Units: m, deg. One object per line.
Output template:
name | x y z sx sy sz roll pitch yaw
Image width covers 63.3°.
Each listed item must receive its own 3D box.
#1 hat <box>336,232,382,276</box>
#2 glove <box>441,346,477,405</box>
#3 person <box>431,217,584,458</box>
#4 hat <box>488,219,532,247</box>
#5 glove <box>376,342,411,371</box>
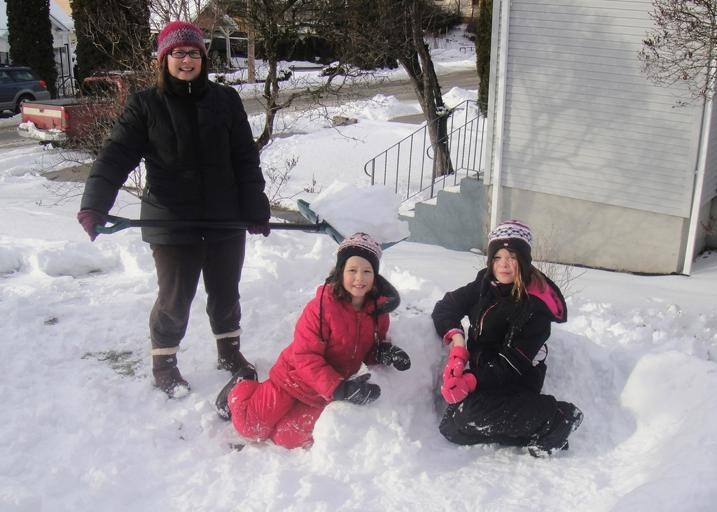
hat | 0.009 -0.018 3.910 0.226 0.264 0.297 14 3 2
glove | 0.672 0.805 3.881 0.222 0.346 0.293 1 20 9
person | 0.972 0.522 3.904 0.945 1.355 0.856 -1 20 6
hat | 1.045 -0.136 3.993 0.205 0.139 0.211 10 -2 -9
glove | 0.227 0.702 4.030 0.235 0.106 0.156 25 60 -8
